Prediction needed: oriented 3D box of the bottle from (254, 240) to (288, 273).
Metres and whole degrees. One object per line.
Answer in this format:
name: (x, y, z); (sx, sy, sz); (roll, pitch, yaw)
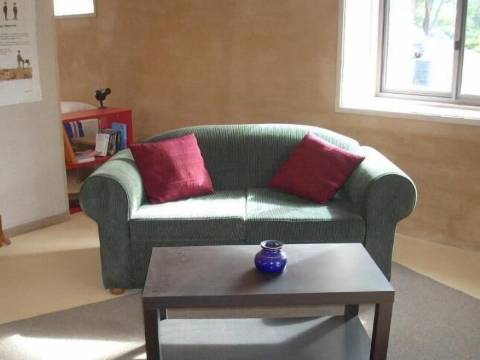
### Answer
bottle: (0.151, 0.395, 2.205); (0.162, 0.131, 0.162); (5, 11, 35)

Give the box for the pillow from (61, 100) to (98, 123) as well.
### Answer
pillow: (-1.864, -0.789, 4.877); (0.599, 0.168, 0.306); (0, 21, 0)

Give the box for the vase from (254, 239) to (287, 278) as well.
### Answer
vase: (0.161, 0.389, 2.170); (0.165, 0.133, 0.164); (5, 11, 30)

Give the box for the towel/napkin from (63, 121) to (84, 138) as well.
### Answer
towel/napkin: (-1.869, -0.574, 4.756); (0.202, 0.196, 0.067); (-10, 10, -43)
